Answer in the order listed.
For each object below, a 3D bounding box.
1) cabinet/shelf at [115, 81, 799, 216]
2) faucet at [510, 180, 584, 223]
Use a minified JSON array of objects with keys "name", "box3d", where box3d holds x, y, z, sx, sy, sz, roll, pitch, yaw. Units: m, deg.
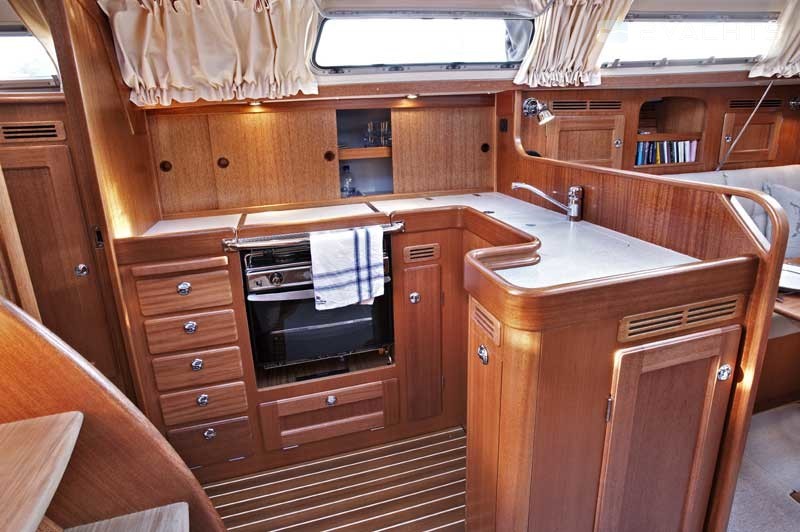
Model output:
[{"name":"cabinet/shelf","box3d":[0.592,-0.876,3.859,4.448,0.745,0.493,-7,24,-12]},{"name":"faucet","box3d":[0.812,-0.385,3.217,0.293,0.188,0.426,-12,23,-21]}]
